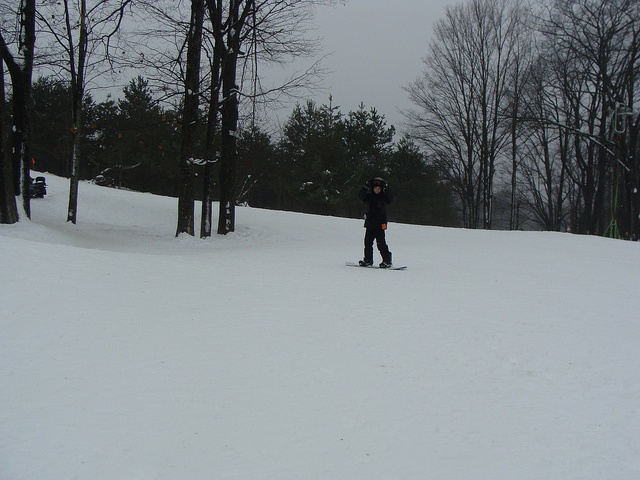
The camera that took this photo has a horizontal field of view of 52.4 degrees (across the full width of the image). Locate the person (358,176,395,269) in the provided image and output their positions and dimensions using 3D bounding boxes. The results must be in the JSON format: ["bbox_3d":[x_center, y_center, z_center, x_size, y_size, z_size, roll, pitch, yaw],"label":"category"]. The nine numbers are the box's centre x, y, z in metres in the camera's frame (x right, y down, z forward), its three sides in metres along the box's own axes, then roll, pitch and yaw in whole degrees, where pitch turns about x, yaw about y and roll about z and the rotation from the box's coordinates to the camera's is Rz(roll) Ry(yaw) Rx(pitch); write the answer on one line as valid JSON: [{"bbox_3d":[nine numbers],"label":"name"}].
[{"bbox_3d":[1.323,-0.427,15.297,0.795,2.047,1.324,2,9,5],"label":"person"}]

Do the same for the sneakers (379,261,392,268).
[{"bbox_3d":[1.525,0.558,14.864,0.347,0.137,0.257,-2,11,-16],"label":"sneakers"}]
